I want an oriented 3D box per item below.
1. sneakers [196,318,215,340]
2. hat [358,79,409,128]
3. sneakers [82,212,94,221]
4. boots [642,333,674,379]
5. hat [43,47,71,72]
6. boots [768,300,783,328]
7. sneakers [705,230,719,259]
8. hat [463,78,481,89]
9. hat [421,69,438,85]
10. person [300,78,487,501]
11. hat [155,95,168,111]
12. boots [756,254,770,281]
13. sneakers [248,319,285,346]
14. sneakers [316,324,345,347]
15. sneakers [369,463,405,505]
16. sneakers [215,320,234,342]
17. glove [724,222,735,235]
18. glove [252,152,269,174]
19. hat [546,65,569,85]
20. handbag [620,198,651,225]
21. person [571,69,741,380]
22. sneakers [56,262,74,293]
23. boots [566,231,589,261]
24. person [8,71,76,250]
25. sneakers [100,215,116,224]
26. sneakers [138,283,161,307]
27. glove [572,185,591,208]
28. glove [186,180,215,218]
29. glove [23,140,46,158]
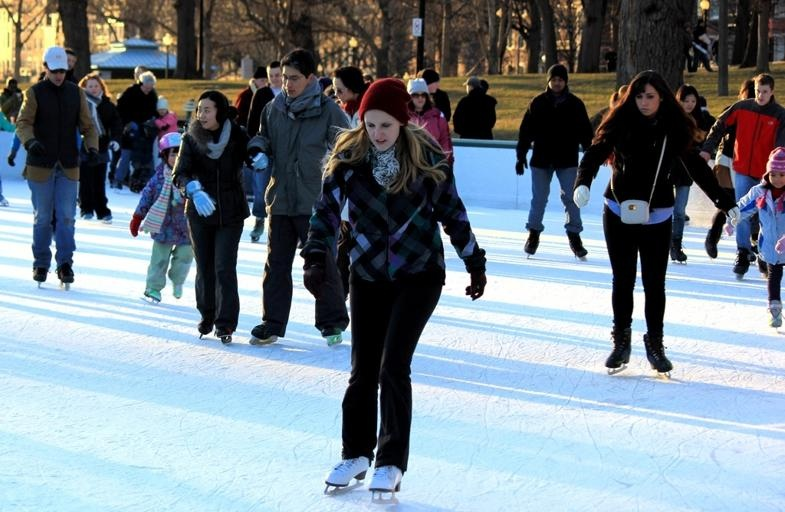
[{"bbox_3d":[-1.753,0.688,7.425,0.115,0.127,0.195,2,-35,-14],"label":"sneakers"},{"bbox_3d":[-0.031,-0.950,4.735,0.304,0.278,0.349,11,10,4],"label":"hat"},{"bbox_3d":[-5.333,-0.686,13.879,0.132,0.164,0.085,8,-3,1],"label":"sneakers"},{"bbox_3d":[2.231,0.809,6.647,0.162,0.330,0.498,-11,4,7],"label":"boots"},{"bbox_3d":[-3.762,-2.200,8.841,0.232,0.198,0.348,-6,23,-24],"label":"hat"},{"bbox_3d":[3.799,0.568,7.860,0.119,0.272,0.076,6,13,22],"label":"boots"},{"bbox_3d":[4.541,-0.148,11.216,0.154,0.443,0.189,-4,-5,-13],"label":"sneakers"},{"bbox_3d":[1.720,-3.745,17.079,0.252,0.292,0.293,-10,42,-27],"label":"hat"},{"bbox_3d":[0.545,-2.679,11.748,0.211,0.236,0.276,-14,32,-30],"label":"hat"},{"bbox_3d":[-0.004,0.206,4.743,1.058,2.480,0.664,-1,12,-8],"label":"person"},{"bbox_3d":[-4.735,-3.152,16.312,0.215,0.279,0.440,-4,13,-20],"label":"hat"},{"bbox_3d":[4.456,0.146,9.520,0.211,0.288,0.107,7,42,36],"label":"boots"},{"bbox_3d":[-1.176,0.695,7.292,0.182,0.221,0.329,-7,22,-39],"label":"sneakers"},{"bbox_3d":[-0.551,0.721,7.290,0.119,0.139,0.326,-2,1,3],"label":"sneakers"},{"bbox_3d":[-0.040,1.346,4.747,0.193,0.240,0.237,1,12,-2],"label":"sneakers"},{"bbox_3d":[-1.537,0.706,7.255,0.095,0.110,0.260,2,7,2],"label":"sneakers"},{"bbox_3d":[3.051,-0.247,7.164,0.085,0.151,0.049,6,44,14],"label":"glove"},{"bbox_3d":[-1.154,-0.828,6.951,0.144,0.136,0.146,-31,14,14],"label":"glove"},{"bbox_3d":[2.281,-2.483,10.792,0.253,0.278,0.344,7,17,-1],"label":"hat"},{"bbox_3d":[1.923,-0.349,6.349,0.285,0.262,0.165,2,4,26],"label":"handbag"},{"bbox_3d":[2.080,-0.276,6.543,1.102,2.414,0.394,4,12,14],"label":"person"},{"bbox_3d":[-3.672,0.217,8.942,0.144,0.385,0.167,2,31,-11],"label":"sneakers"},{"bbox_3d":[2.664,-0.146,11.194,0.196,0.223,0.540,-9,50,-18],"label":"boots"},{"bbox_3d":[-3.739,-1.002,8.886,0.792,2.292,0.529,-5,13,-24],"label":"person"},{"bbox_3d":[-4.838,-0.613,13.486,0.216,0.146,0.133,18,-4,-2],"label":"sneakers"},{"bbox_3d":[-2.590,0.434,8.560,0.132,0.110,0.228,19,-26,-6],"label":"sneakers"},{"bbox_3d":[1.568,-0.494,6.537,0.167,0.236,0.090,7,-7,12],"label":"glove"},{"bbox_3d":[-1.693,-0.498,6.947,0.236,0.322,0.096,-31,-17,-33],"label":"glove"},{"bbox_3d":[-3.864,-1.162,8.602,0.150,0.187,0.175,-35,29,-2],"label":"glove"}]
